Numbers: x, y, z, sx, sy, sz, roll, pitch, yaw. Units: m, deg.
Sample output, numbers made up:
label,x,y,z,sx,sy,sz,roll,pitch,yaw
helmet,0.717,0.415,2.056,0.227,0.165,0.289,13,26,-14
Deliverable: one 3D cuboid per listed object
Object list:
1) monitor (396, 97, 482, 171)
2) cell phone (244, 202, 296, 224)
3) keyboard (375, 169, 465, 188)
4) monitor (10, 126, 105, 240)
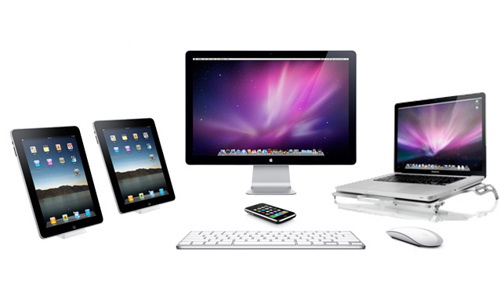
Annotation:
label,x,y,z,sx,sy,sz,roll,pitch,yaw
monitor,1.641,-0.096,3.274,0.052,0.656,0.846,0,-1,-29
cell phone,0.154,0.496,2.827,0.354,0.092,0.182,3,12,43
keyboard,1.410,0.250,3.098,0.583,0.031,0.445,3,11,40
monitor,-1.389,0.221,2.683,0.439,0.756,0.287,-11,11,-33
